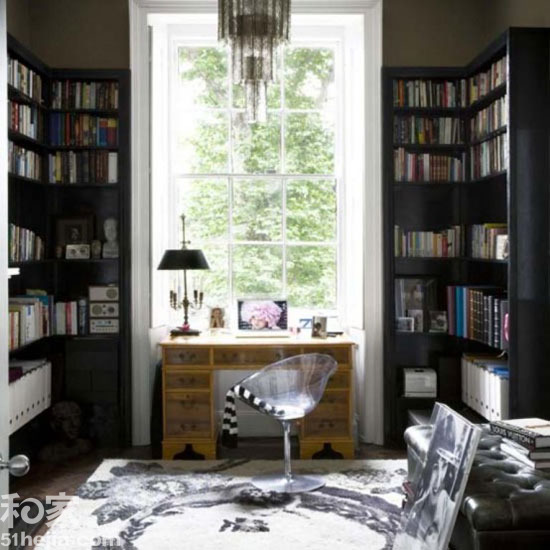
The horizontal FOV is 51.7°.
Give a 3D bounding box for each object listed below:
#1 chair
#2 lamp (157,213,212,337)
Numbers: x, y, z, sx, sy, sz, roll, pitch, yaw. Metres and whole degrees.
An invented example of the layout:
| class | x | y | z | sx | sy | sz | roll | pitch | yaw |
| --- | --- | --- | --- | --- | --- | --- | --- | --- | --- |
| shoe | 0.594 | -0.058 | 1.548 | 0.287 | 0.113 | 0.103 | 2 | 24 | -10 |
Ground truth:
| class | x | y | z | sx | sy | sz | roll | pitch | yaw |
| --- | --- | --- | --- | --- | --- | --- | --- | --- | --- |
| chair | 0.018 | 0.928 | 3.495 | 0.521 | 0.760 | 0.545 | 0 | -13 | -9 |
| lamp | -0.701 | -0.010 | 4.386 | 0.367 | 0.930 | 0.693 | 0 | 2 | -9 |
